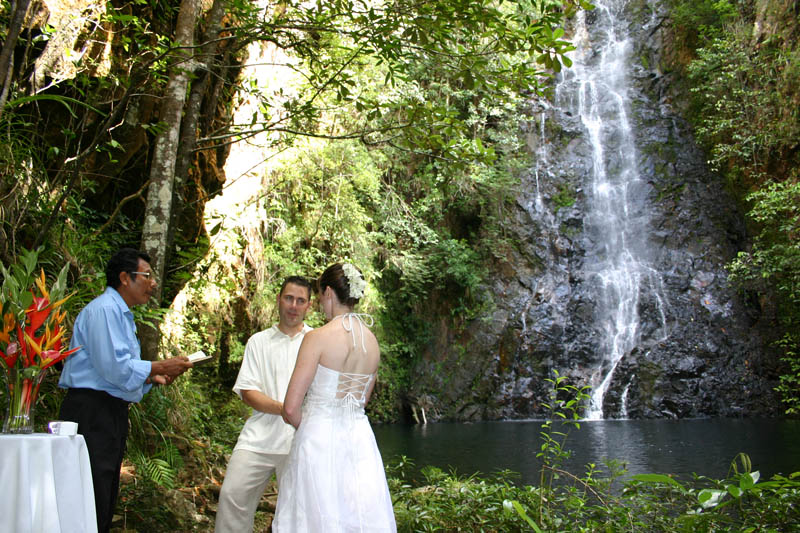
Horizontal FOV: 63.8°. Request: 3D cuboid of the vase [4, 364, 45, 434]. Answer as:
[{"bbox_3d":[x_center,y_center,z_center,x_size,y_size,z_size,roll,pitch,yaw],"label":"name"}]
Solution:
[{"bbox_3d":[-2.955,1.056,5.050,0.237,0.499,0.140,5,-12,-37],"label":"vase"}]
